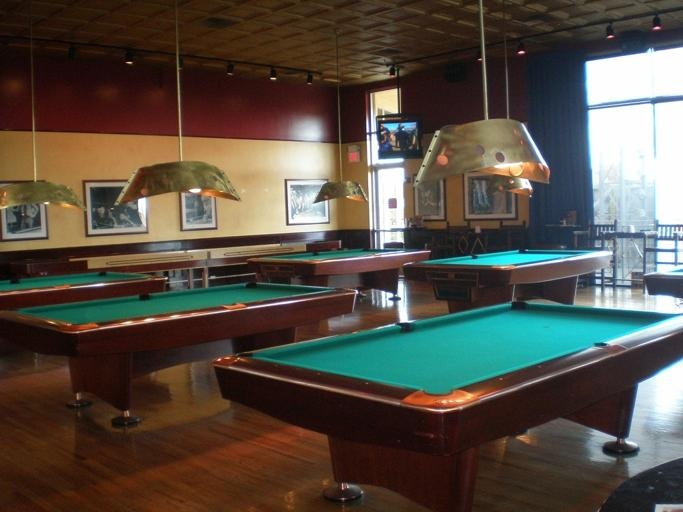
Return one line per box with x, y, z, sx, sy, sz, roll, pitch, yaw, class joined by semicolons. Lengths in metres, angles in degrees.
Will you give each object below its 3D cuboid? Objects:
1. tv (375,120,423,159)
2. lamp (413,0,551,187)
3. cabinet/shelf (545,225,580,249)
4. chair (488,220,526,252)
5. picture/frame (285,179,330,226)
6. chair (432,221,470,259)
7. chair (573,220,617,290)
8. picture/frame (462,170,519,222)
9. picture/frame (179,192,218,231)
0.944;-2.194;10.731;1.064;0.750;0.365;-10;16;-31;tv
0.795;-0.951;3.175;0.569;1.096;0.947;2;9;29;lamp
3.628;-0.312;9.470;0.549;0.421;0.253;2;1;34;cabinet/shelf
2.849;-0.327;9.953;0.736;0.466;0.269;0;2;33;chair
-0.675;-1.082;11.504;1.273;0.883;0.038;4;6;44;picture/frame
2.064;-0.235;10.760;0.928;0.681;0.606;-2;-3;34;chair
4.130;-0.008;9.495;0.626;1.042;0.978;2;9;32;chair
2.703;-1.074;10.508;1.228;0.844;0.056;-3;7;-26;picture/frame
-2.519;-0.794;10.229;0.043;0.645;0.787;9;12;36;picture/frame
